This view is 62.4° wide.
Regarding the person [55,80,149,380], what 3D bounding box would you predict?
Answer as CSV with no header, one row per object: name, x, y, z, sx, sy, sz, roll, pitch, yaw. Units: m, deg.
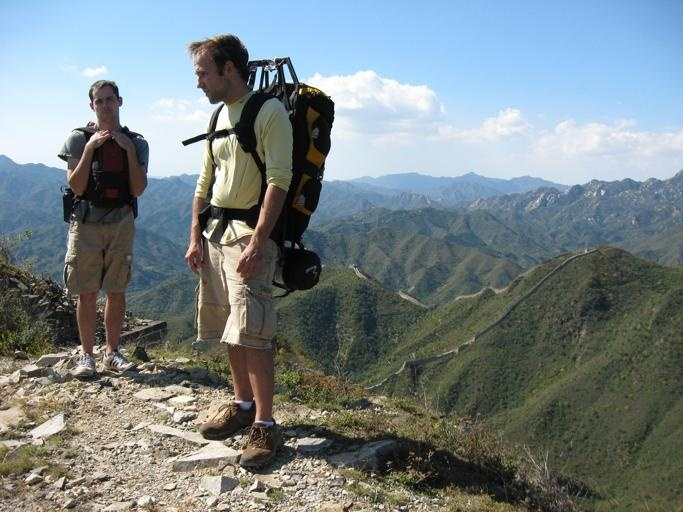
person,-3.144,-0.369,7.489,1.058,3.823,0.704,-4,11,-27

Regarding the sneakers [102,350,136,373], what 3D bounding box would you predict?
sneakers,-3.043,1.429,7.673,0.508,0.254,0.202,6,6,24

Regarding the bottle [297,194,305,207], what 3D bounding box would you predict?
bottle,-0.454,-0.630,6.259,0.109,0.205,0.023,9,30,9
